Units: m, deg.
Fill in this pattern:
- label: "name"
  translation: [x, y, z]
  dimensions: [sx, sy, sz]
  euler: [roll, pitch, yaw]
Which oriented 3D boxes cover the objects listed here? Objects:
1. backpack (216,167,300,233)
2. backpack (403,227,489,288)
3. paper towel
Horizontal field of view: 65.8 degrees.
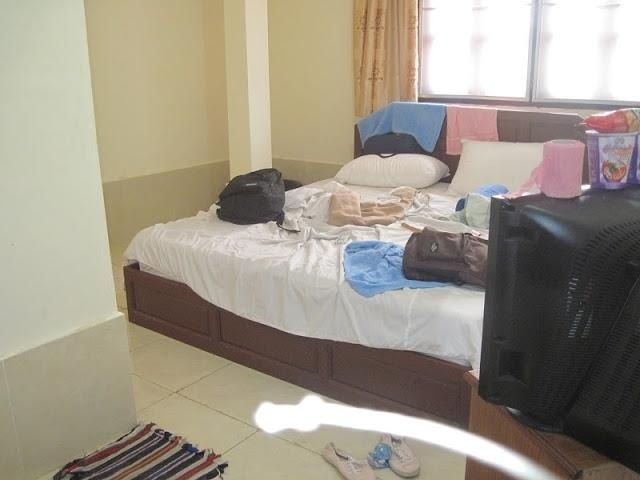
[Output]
- label: "backpack"
  translation: [-0.454, -0.341, 3.413]
  dimensions: [0.546, 0.212, 0.430]
  euler: [12, 31, 28]
- label: "backpack"
  translation: [0.601, 0.040, 2.522]
  dimensions: [0.368, 0.178, 0.500]
  euler: [5, 25, 17]
- label: "paper towel"
  translation: [0.477, -0.153, 1.051]
  dimensions: [0.156, 0.115, 0.088]
  euler: [-7, 25, -2]
